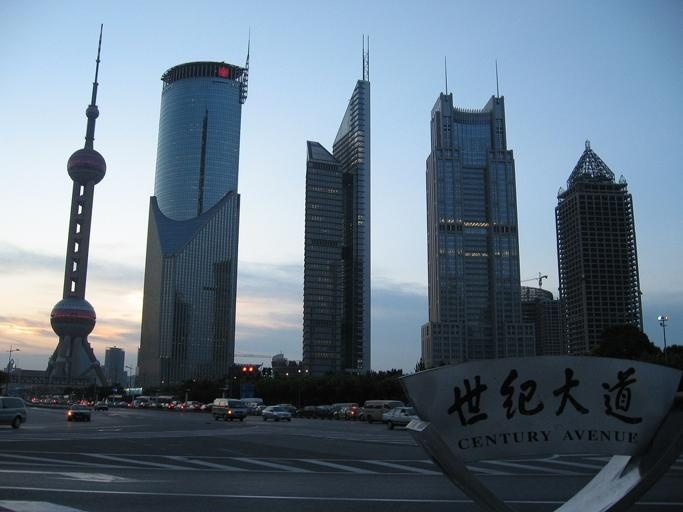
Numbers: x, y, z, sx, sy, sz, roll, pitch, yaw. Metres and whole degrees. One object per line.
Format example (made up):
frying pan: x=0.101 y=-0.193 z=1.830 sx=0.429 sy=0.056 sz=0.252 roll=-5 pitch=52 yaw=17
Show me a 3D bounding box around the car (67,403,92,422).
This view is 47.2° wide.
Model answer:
car: x=-19.486 y=11.625 z=57.823 sx=1.123 sy=0.795 sz=1.943 roll=4 pitch=-15 yaw=-27
